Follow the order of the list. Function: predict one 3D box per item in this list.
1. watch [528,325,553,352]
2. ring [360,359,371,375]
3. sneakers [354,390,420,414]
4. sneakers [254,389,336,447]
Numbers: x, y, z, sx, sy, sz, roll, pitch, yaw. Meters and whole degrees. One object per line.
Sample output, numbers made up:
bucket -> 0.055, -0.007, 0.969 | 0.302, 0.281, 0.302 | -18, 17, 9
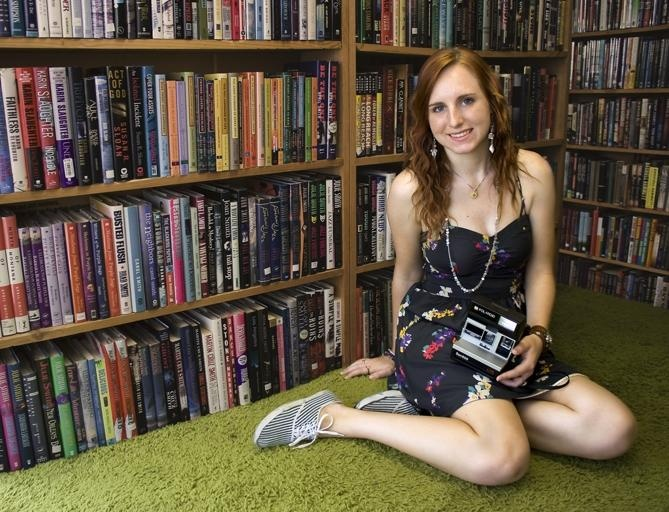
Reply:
watch -> 0.663, 0.271, 1.747 | 0.055, 0.085, 0.091 | -18, -22, 37
ring -> 0.118, 0.441, 2.123 | 0.018, 0.042, 0.050 | 5, 0, -12
sneakers -> 0.176, 0.495, 1.840 | 0.087, 0.044, 0.153 | 4, -2, 42
sneakers -> -0.108, 0.548, 1.829 | 0.284, 0.113, 0.107 | -23, 25, -19
